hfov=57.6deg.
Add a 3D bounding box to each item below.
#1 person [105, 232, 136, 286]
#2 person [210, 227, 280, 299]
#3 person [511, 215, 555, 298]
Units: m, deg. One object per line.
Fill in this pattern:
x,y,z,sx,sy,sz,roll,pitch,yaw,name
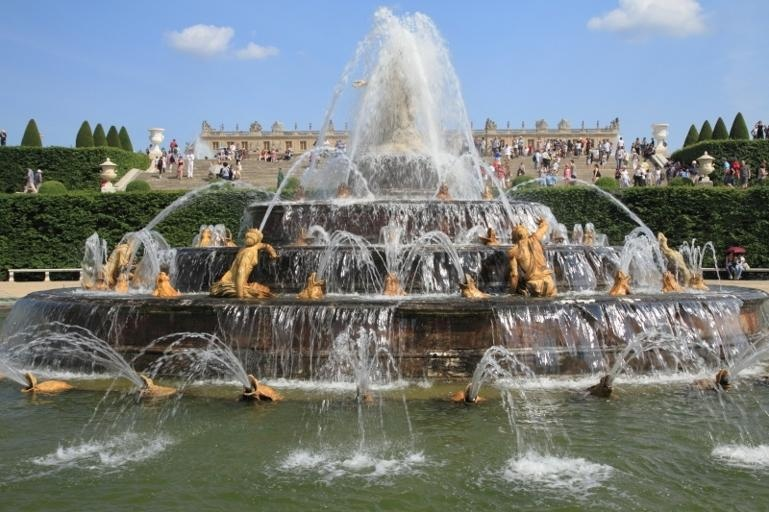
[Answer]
-4.327,0.135,11.601,0.397,1.171,0.311,8,-32,-19,person
-1.944,0.124,9.853,0.969,1.101,0.914,8,-4,-4,person
2.021,0.062,9.600,0.608,0.870,0.771,0,14,3,person
